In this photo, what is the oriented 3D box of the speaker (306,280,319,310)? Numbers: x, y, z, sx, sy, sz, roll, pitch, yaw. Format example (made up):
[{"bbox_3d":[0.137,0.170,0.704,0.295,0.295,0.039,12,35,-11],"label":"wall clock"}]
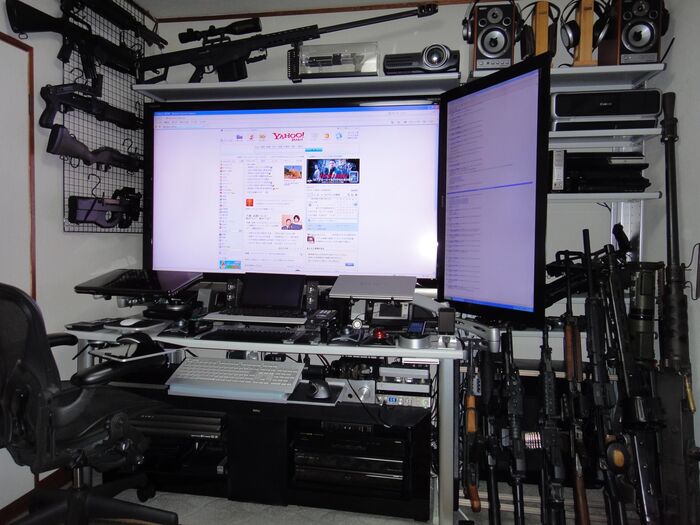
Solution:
[{"bbox_3d":[-0.186,0.179,3.253,0.057,0.161,0.122,1,-2,24],"label":"speaker"}]

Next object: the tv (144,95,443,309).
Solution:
[{"bbox_3d":[-0.326,-0.388,3.241,1.519,1.056,0.242,3,3,7],"label":"tv"}]

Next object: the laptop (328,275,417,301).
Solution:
[{"bbox_3d":[0.127,0.129,3.121,0.425,0.136,0.256,2,-2,8],"label":"laptop"}]

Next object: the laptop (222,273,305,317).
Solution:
[{"bbox_3d":[-0.411,0.163,3.212,0.306,0.194,0.231,2,-3,7],"label":"laptop"}]

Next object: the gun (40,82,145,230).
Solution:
[{"bbox_3d":[-1.444,-0.589,3.412,0.171,0.777,0.684,1,-2,30],"label":"gun"}]

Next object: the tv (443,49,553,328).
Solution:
[{"bbox_3d":[0.705,-0.339,2.966,0.091,1.214,0.716,3,-2,-32],"label":"tv"}]

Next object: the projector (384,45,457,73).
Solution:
[{"bbox_3d":[0.390,-1.060,3.219,0.455,0.153,0.348,4,5,16],"label":"projector"}]
